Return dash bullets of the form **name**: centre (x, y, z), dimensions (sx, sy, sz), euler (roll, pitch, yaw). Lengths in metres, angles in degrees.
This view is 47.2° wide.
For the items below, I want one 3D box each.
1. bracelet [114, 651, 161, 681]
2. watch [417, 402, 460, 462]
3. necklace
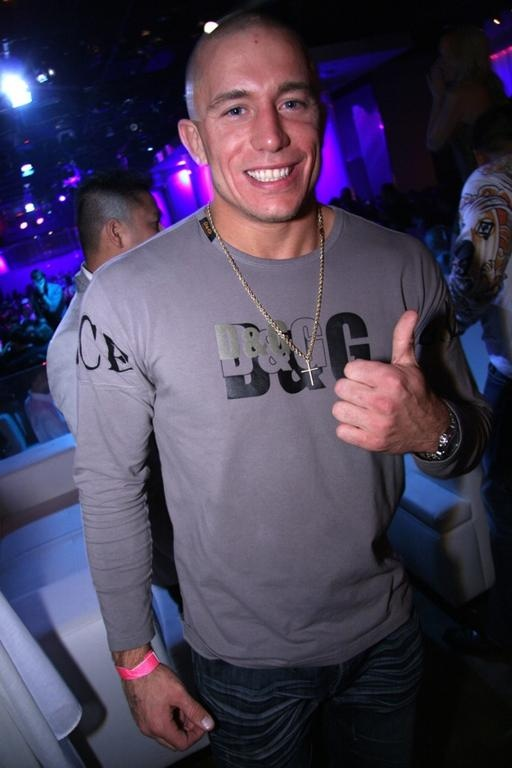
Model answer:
- **bracelet**: centre (-0.219, 0.535, 1.101), dimensions (0.065, 0.027, 0.060), euler (-32, -14, 38)
- **watch**: centre (0.360, 0.095, 1.126), dimensions (0.044, 0.100, 0.076), euler (15, 1, -21)
- **necklace**: centre (0.028, -0.167, 1.116), dimensions (0.171, 0.374, 0.032), euler (-15, -1, -23)
